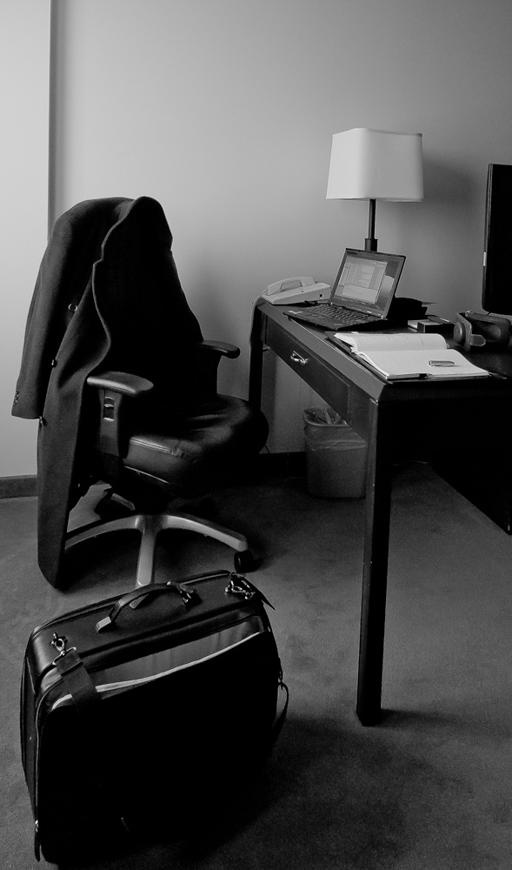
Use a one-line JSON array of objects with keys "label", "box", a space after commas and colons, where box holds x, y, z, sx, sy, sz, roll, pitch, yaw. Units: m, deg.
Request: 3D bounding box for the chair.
[{"label": "chair", "box": [-0.270, -0.115, 1.907, 0.514, 0.995, 0.605, 8, 18, 18]}]

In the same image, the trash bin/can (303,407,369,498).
[{"label": "trash bin/can", "box": [0.264, 0.068, 2.466, 0.212, 0.303, 0.286, -1, 10, -5]}]

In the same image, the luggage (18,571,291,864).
[{"label": "luggage", "box": [-0.142, 0.397, 1.014, 0.414, 0.296, 0.240, -6, 13, -28]}]

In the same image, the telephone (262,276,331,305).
[{"label": "telephone", "box": [0.145, -0.499, 2.264, 0.163, 0.069, 0.133, -4, 18, -11]}]
